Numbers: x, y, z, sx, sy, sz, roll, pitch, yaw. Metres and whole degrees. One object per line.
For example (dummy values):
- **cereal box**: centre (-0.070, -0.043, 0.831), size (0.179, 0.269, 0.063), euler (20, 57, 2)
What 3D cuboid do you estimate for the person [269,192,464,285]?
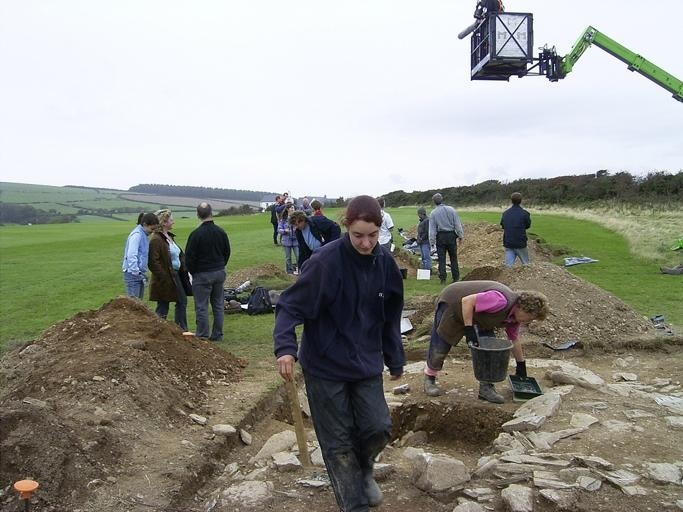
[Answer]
- **person**: centre (-0.336, -0.418, 9.034), size (1.861, 1.015, 1.136), euler (15, -29, -32)

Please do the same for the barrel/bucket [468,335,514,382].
- **barrel/bucket**: centre (1.768, 1.380, 5.668), size (0.581, 0.453, 0.548), euler (0, 0, 0)

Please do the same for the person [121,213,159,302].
- **person**: centre (-3.477, 0.010, 8.001), size (0.607, 1.571, 0.368), euler (-8, 12, -35)

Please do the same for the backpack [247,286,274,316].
- **backpack**: centre (-1.870, 1.079, 10.341), size (0.603, 0.597, 0.374), euler (-3, 10, -13)

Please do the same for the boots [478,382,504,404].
- **boots**: centre (1.922, 1.858, 5.889), size (0.403, 0.293, 0.162), euler (1, 4, 26)
